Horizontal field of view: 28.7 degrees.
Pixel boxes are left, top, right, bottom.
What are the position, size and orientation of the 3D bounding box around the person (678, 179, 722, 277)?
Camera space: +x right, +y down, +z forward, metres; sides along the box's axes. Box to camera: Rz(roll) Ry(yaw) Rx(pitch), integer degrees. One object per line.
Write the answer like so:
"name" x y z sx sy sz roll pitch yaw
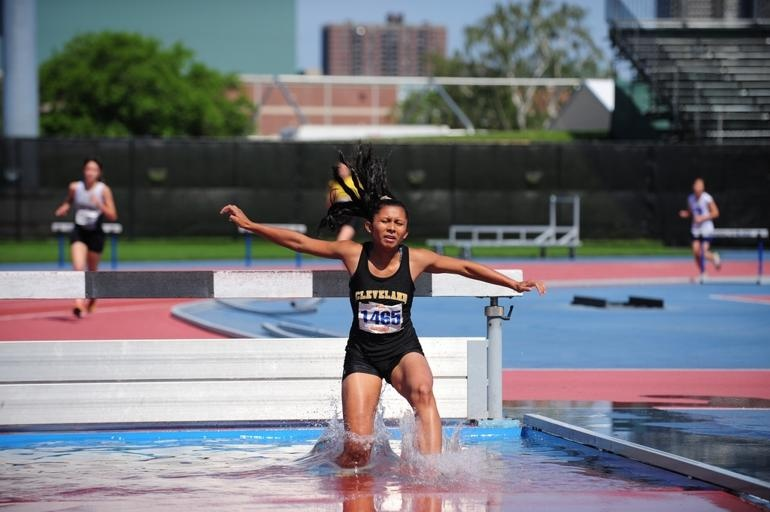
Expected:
"person" 7.424 -0.808 35.589 1.112 2.661 1.075 0 0 1
